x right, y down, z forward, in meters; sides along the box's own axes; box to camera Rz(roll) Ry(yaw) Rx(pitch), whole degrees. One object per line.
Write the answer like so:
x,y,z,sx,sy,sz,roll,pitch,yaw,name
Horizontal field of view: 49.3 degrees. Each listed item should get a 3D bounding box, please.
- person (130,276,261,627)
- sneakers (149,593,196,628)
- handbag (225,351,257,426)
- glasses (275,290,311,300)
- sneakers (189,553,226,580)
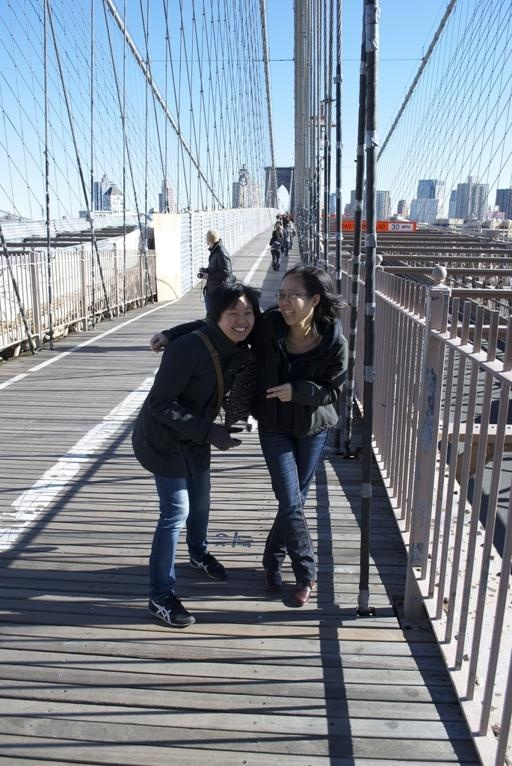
-0.248,0.262,2.235,0.486,1.332,0.547,-1,5,-20,person
-0.334,0.873,2.200,0.079,0.099,0.199,4,-3,-45,sneakers
-0.058,0.027,2.162,0.059,0.261,0.169,17,11,21,handbag
0.117,-0.343,2.156,0.154,0.041,0.081,6,7,43,glasses
-0.229,0.824,2.617,0.183,0.088,0.076,13,15,41,sneakers
